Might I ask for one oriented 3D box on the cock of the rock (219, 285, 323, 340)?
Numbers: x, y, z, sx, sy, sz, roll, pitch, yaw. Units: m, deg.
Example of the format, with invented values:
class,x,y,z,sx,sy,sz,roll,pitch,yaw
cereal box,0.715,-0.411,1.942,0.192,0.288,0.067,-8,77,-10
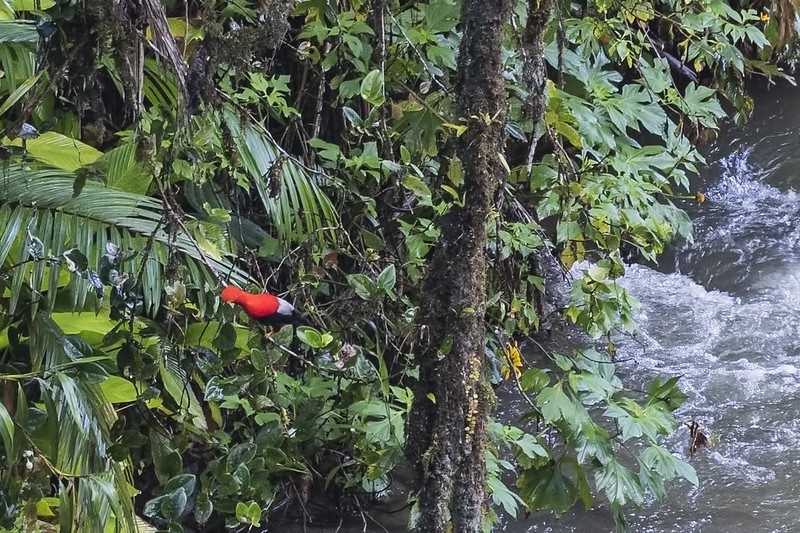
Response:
class,x,y,z,sx,sy,sz,roll,pitch,yaw
cock of the rock,-0.589,0.207,5.310,0.453,0.175,0.312,4,-50,-15
